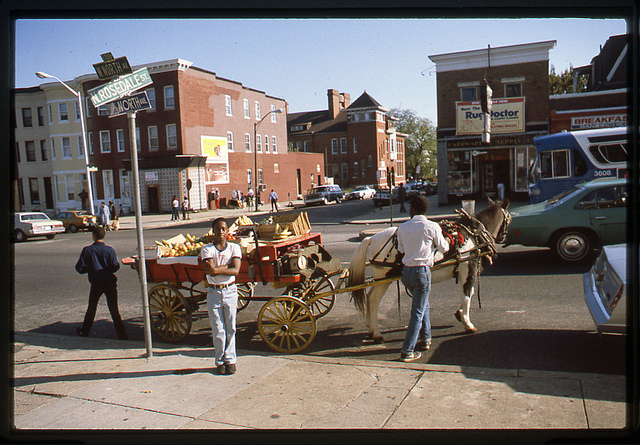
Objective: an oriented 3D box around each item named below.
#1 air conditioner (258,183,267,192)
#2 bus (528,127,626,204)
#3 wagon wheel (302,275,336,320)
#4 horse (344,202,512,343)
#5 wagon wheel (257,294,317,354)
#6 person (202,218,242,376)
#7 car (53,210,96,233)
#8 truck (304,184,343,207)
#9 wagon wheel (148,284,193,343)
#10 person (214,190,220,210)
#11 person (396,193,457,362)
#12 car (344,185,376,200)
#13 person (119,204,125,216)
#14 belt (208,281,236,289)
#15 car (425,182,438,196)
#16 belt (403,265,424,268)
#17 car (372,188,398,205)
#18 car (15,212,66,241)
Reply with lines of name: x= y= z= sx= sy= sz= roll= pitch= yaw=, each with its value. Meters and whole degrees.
air conditioner: x=-4.948 y=-2.985 z=57.291 sx=0.712 sy=0.401 sz=0.686 roll=-1 pitch=0 yaw=-2
bus: x=9.379 y=-2.314 z=24.502 sx=4.847 sy=2.188 sz=1.737 roll=-3 pitch=3 yaw=16
wagon wheel: x=0.044 y=1.550 z=13.925 sx=0.211 sy=0.824 sz=0.864 roll=4 pitch=-30 yaw=21
horse: x=2.203 y=0.850 z=12.790 sx=3.664 sy=2.524 sz=1.013 roll=-3 pitch=4 yaw=-10
wagon wheel: x=-0.598 y=1.896 z=12.379 sx=0.961 sy=0.900 sz=0.284 roll=7 pitch=7 yaw=20
person: x=-1.622 y=1.219 z=11.420 sx=0.623 sy=2.573 sz=0.571 roll=-7 pitch=5 yaw=-30
car: x=-13.433 y=-0.077 z=36.773 sx=2.295 sy=0.706 sz=1.014 roll=4 pitch=8 yaw=21
truck: x=0.208 y=-2.288 z=55.395 sx=1.681 sy=1.124 sz=3.076 roll=-2 pitch=1 yaw=28
wagon wheel: x=-2.936 y=1.753 z=12.966 sx=1.200 sy=1.129 sz=0.367 roll=1 pitch=12 yaw=34
person: x=-8.027 y=-1.812 z=52.414 sx=0.208 sy=1.461 sz=0.756 roll=-4 pitch=4 yaw=4
person: x=1.734 y=0.938 z=11.783 sx=0.913 sy=2.777 sz=1.030 roll=-4 pitch=4 yaw=5
car: x=3.933 y=-2.809 z=64.325 sx=1.579 sy=0.827 sz=2.915 roll=-2 pitch=1 yaw=30
person: x=-14.889 y=-0.970 z=50.409 sx=0.305 sy=0.770 sz=0.921 roll=-6 pitch=4 yaw=-17
belt: x=-1.681 y=1.066 z=11.422 sx=0.428 sy=0.099 sz=0.115 roll=-4 pitch=4 yaw=-8
car: x=9.477 y=-2.783 z=57.356 sx=0.757 sy=1.025 sz=5.773 roll=-3 pitch=4 yaw=12
belt: x=1.595 y=0.754 z=11.603 sx=0.319 sy=0.046 sz=0.055 roll=-2 pitch=5 yaw=24
car: x=4.200 y=-1.808 z=46.145 sx=1.086 sy=0.584 sz=1.843 roll=2 pitch=13 yaw=20
car: x=-13.658 y=0.179 z=32.253 sx=2.138 sy=1.321 sz=1.154 roll=-4 pitch=4 yaw=6
